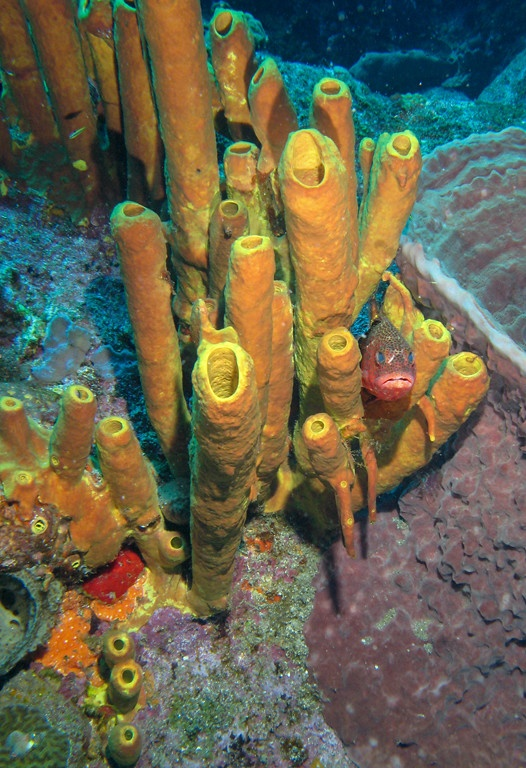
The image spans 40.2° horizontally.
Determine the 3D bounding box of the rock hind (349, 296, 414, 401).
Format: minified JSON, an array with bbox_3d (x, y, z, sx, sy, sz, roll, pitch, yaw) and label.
[{"bbox_3d":[0.487,-0.113,3.080,0.247,0.341,0.736,-1,13,-6],"label":"rock hind"}]
